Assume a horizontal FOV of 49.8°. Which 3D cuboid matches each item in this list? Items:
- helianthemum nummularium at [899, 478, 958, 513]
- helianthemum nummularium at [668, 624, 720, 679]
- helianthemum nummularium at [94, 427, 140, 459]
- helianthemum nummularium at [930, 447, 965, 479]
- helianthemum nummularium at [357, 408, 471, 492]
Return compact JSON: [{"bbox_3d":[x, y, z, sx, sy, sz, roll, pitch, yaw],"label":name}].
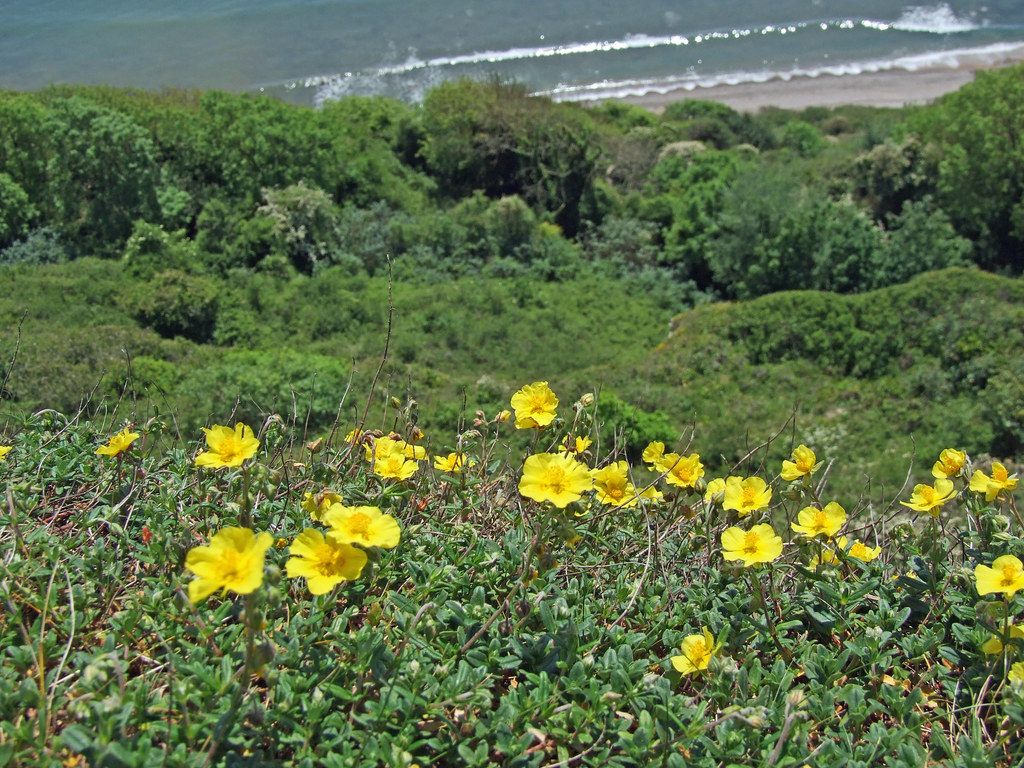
[{"bbox_3d":[5.378,1.434,14.231,0.489,0.321,0.488,9,56,48],"label":"helianthemum nummularium"},{"bbox_3d":[2.308,3.361,13.910,0.579,0.429,0.440,3,36,9],"label":"helianthemum nummularium"},{"bbox_3d":[-5.159,0.788,14.399,0.544,0.359,0.405,-9,36,-6],"label":"helianthemum nummularium"},{"bbox_3d":[5.657,1.054,14.275,0.411,0.426,0.322,2,35,8],"label":"helianthemum nummularium"},{"bbox_3d":[-1.310,0.868,14.406,0.880,0.353,0.817,11,28,-9],"label":"helianthemum nummularium"}]
